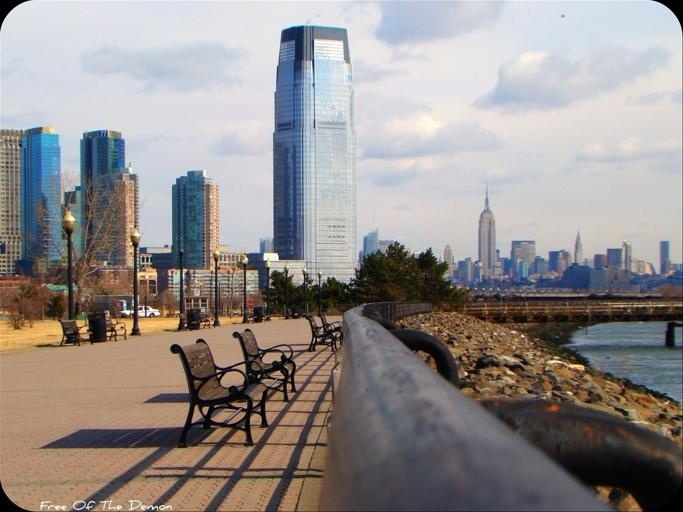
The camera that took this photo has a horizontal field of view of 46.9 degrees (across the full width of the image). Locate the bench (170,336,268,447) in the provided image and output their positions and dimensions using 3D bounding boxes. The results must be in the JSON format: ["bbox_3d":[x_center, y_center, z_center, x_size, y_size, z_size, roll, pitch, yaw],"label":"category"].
[{"bbox_3d":[-1.371,1.548,9.167,0.929,0.950,1.829,2,-4,0],"label":"bench"}]
